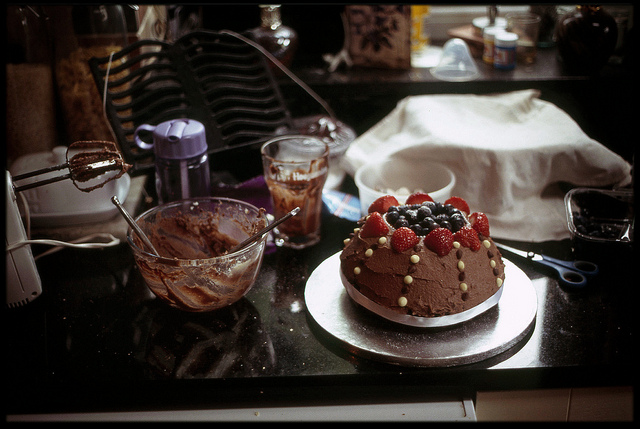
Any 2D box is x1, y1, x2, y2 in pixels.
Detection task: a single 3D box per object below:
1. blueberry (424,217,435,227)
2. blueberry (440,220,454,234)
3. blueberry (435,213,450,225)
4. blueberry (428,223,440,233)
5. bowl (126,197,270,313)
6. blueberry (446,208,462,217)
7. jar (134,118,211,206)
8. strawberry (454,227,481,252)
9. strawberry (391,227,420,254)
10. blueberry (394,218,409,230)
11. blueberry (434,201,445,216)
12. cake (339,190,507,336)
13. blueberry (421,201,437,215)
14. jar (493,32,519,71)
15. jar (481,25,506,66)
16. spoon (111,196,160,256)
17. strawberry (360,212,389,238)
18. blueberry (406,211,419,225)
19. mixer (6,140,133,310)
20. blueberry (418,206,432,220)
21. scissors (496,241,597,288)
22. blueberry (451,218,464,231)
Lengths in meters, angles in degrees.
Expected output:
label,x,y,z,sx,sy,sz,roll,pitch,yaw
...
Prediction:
label,x,y,z,sx,sy,sz,roll,pitch,yaw
blueberry,0.218,0.015,0.993,0.015,0.011,0.019,-4,9,6
blueberry,0.250,0.023,0.999,0.026,0.029,0.025,3,11,12
blueberry,0.244,0.009,1.012,0.019,0.013,0.024,3,11,27
blueberry,0.224,0.027,0.993,0.019,0.014,0.014,-11,12,-15
bowl,-0.250,0.083,1.087,0.283,0.150,0.275,1,21,0
blueberry,0.270,-0.005,1.026,0.017,0.016,0.016,14,40,25
jar,-0.353,-0.124,1.318,0.149,0.260,0.239,-4,31,-9
strawberry,0.292,0.049,0.998,0.051,0.042,0.031,10,27,18
strawberry,0.167,0.051,0.993,0.048,0.049,0.060,4,-4,-36
blueberry,0.163,0.017,1.007,0.020,0.019,0.023,-18,4,8
blueberry,0.245,-0.013,1.035,0.025,0.024,0.014,0,5,4
cake,0.216,0.067,1.096,0.346,0.160,0.337,2,26,-7
blueberry,0.223,-0.013,1.044,0.027,0.015,0.026,2,26,-29
jar,0.393,-0.363,1.130,0.065,0.068,0.067,-6,30,4
jar,0.379,-0.368,1.097,0.051,0.074,0.049,-6,38,4
spoon,-0.435,0.032,1.172,0.018,0.179,0.017,-20,23,37
strawberry,0.110,0.025,1.023,0.060,0.048,0.035,7,26,13
blueberry,0.182,0.008,1.029,0.024,0.023,0.023,0,61,-15
mixer,-0.587,0.037,1.176,0.244,0.272,0.317,-20,30,-37
blueberry,0.210,-0.004,1.009,0.024,0.014,0.023,-9,30,-13
scissors,0.531,0.108,1.169,0.067,0.020,0.196,-34,39,-30
blueberry,0.273,0.019,1.006,0.024,0.012,0.022,-15,34,-11
